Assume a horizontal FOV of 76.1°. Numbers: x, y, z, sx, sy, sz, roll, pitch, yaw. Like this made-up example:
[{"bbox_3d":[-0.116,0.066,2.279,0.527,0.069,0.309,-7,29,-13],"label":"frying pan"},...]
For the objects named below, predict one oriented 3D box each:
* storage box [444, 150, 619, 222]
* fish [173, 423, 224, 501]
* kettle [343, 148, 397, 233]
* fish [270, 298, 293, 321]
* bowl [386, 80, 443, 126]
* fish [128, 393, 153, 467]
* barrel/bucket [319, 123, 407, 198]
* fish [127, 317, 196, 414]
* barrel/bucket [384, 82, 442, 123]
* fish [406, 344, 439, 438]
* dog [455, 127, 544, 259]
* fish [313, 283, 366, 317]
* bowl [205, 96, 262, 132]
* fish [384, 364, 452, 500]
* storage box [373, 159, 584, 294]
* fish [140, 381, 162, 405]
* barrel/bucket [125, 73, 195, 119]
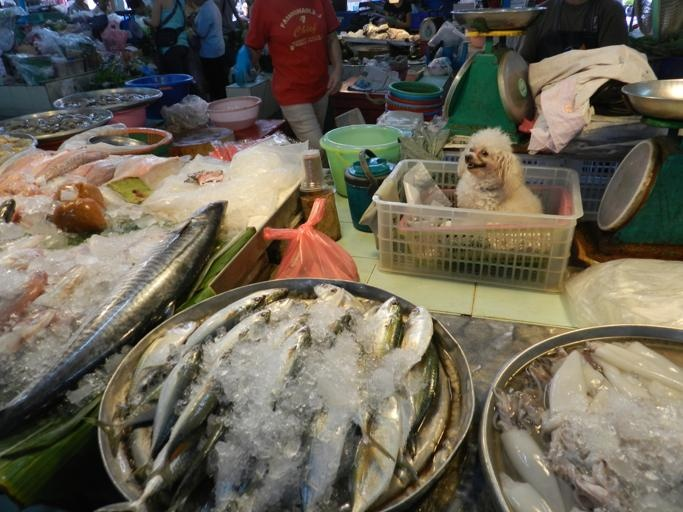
[{"bbox_3d":[1.339,-0.532,2.967,0.793,0.279,0.527,7,45,17],"label":"storage box"},{"bbox_3d":[-0.409,0.592,1.240,0.059,0.025,0.237,24,55,26],"label":"fish"},{"bbox_3d":[0.110,-0.398,2.620,0.245,0.403,0.299,-12,24,-31],"label":"kettle"},{"bbox_3d":[-0.216,0.189,1.551,0.054,0.020,0.072,-9,15,21],"label":"fish"},{"bbox_3d":[0.618,-1.340,3.836,0.496,0.226,0.573,8,39,16],"label":"bowl"},{"bbox_3d":[-0.596,0.543,1.311,0.045,0.108,0.144,14,70,-27],"label":"fish"},{"bbox_3d":[0.126,-0.732,2.907,0.478,0.335,0.488,-3,32,2],"label":"barrel/bucket"},{"bbox_3d":[-0.583,0.372,1.570,0.157,0.084,0.422,-1,30,17],"label":"fish"},{"bbox_3d":[0.628,-1.398,3.848,0.433,0.324,0.434,-1,37,0],"label":"barrel/bucket"},{"bbox_3d":[0.272,0.439,1.473,0.122,0.067,0.331,11,51,15],"label":"fish"},{"bbox_3d":[0.903,-0.416,2.518,0.518,0.540,0.354,-17,21,-40],"label":"dog"},{"bbox_3d":[-0.021,0.150,1.607,0.113,0.044,0.115,34,27,33],"label":"fish"},{"bbox_3d":[-0.948,-1.256,3.922,0.479,0.236,0.406,-15,39,-13],"label":"bowl"},{"bbox_3d":[0.267,0.521,1.336,0.047,0.206,0.327,29,67,-1],"label":"fish"},{"bbox_3d":[0.709,-0.083,2.419,1.017,0.491,0.672,5,40,12],"label":"storage box"},{"bbox_3d":[-0.594,0.434,1.381,0.014,0.055,0.053,38,49,-14],"label":"fish"},{"bbox_3d":[-1.776,-1.531,4.259,0.637,0.391,0.677,2,27,-1],"label":"barrel/bucket"}]
